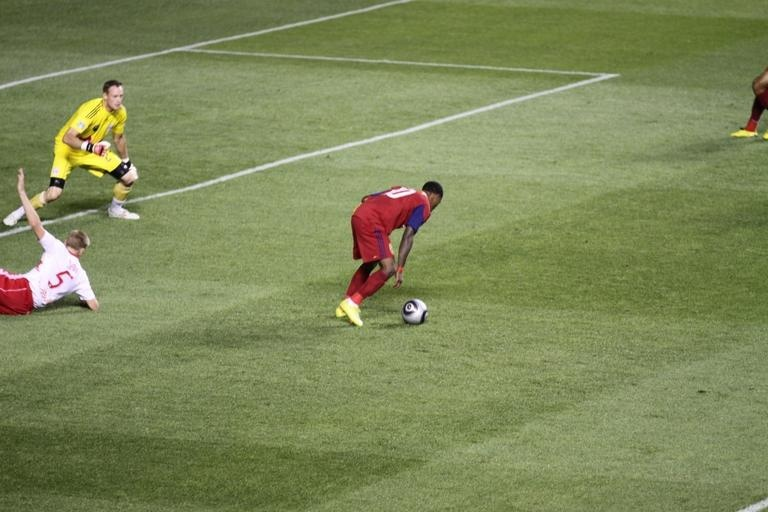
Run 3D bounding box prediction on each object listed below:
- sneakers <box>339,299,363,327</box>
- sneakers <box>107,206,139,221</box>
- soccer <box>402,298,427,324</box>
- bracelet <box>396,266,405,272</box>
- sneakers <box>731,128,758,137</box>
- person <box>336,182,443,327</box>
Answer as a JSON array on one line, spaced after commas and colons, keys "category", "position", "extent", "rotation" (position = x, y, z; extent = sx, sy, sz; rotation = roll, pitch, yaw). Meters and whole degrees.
[{"category": "sneakers", "position": [-0.476, 0.769, 18.033], "extent": [0.211, 0.466, 0.251], "rotation": [-42, 21, 7]}, {"category": "sneakers", "position": [-4.293, -0.718, 20.938], "extent": [0.590, 0.218, 0.189], "rotation": [2, 13, -7]}, {"category": "soccer", "position": [0.419, 0.765, 18.052], "extent": [0.356, 0.344, 0.290], "rotation": [-1, 16, 2]}, {"category": "bracelet", "position": [0.224, 0.150, 17.939], "extent": [0.137, 0.082, 0.076], "rotation": [0, -20, -10]}, {"category": "sneakers", "position": [6.951, -2.419, 24.682], "extent": [0.349, 0.109, 0.209], "rotation": [-2, 1, 3]}, {"category": "person", "position": [0.010, -0.079, 18.270], "extent": [1.011, 1.916, 1.499], "rotation": [11, 20, 38]}]
